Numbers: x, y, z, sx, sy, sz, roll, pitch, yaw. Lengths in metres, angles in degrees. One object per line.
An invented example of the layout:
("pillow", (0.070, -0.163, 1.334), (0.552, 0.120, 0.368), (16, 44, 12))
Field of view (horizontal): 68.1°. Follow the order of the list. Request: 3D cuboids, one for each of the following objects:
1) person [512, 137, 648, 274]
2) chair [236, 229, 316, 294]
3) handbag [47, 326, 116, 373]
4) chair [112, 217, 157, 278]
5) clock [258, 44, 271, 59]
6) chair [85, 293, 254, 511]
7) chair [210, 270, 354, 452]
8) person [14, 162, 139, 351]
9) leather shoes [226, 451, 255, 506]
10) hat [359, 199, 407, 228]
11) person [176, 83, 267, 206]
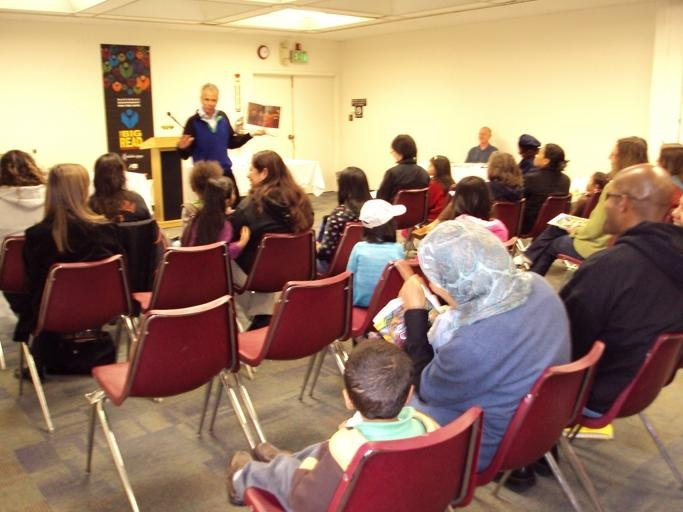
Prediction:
("person", (1.896, -0.323, 3.899), (0.697, 1.211, 0.499), (26, 24, 37))
("chair", (-0.489, -0.006, 3.720), (0.527, 0.468, 0.448), (-10, 23, -28))
("handbag", (-1.738, 0.628, 3.380), (0.471, 0.330, 0.352), (-2, 2, -36))
("chair", (-1.379, -0.067, 3.335), (0.260, 0.451, 0.257), (-13, 33, -29))
("clock", (-1.512, -3.969, 9.796), (0.276, 0.267, 0.029), (-15, 23, -41))
("chair", (-0.843, 0.749, 2.487), (0.637, 0.925, 0.630), (-10, 31, -35))
("chair", (-0.322, 0.594, 2.736), (0.605, 0.914, 0.605), (-14, 29, -34))
("person", (-1.703, -0.005, 3.254), (0.792, 1.159, 0.752), (6, 16, 3))
("leather shoes", (-0.347, 0.718, 1.734), (0.071, 0.146, 0.230), (-5, 31, -10))
("hat", (0.248, -0.265, 2.993), (0.246, 0.127, 0.164), (-20, 39, 6))
("person", (-1.366, -0.942, 5.811), (1.007, 1.880, 0.613), (-13, 31, -29))
